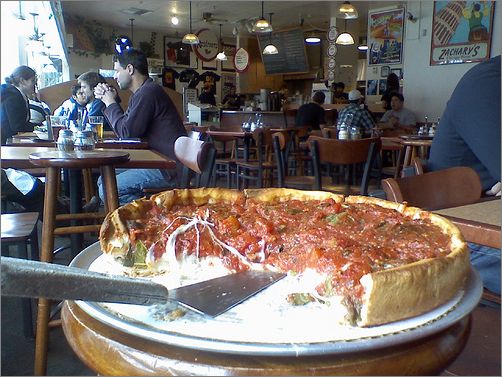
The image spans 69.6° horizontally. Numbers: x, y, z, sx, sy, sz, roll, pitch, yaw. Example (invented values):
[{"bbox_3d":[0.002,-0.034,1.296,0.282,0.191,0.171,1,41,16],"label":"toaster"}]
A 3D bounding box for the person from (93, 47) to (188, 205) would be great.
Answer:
[{"bbox_3d":[-0.970,-0.407,3.265,0.784,1.572,0.628,-1,2,-10],"label":"person"}]

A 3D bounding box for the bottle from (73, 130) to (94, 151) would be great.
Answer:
[{"bbox_3d":[-0.884,-0.244,1.929,0.097,0.120,0.105,2,0,3],"label":"bottle"}]

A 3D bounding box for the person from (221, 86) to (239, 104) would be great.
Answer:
[{"bbox_3d":[-0.728,-3.040,12.144,0.499,0.486,1.111,-2,18,-6],"label":"person"}]

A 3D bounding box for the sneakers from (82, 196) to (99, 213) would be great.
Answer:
[{"bbox_3d":[-1.395,0.143,3.132,0.058,0.082,0.186,2,33,8],"label":"sneakers"}]

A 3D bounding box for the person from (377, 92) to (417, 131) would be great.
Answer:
[{"bbox_3d":[2.845,-1.398,6.988,0.591,0.895,0.570,-1,13,25],"label":"person"}]

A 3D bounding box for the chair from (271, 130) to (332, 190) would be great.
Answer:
[{"bbox_3d":[0.530,-0.323,4.016,0.601,1.006,0.554,0,11,5],"label":"chair"}]

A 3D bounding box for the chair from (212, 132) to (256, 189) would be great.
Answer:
[{"bbox_3d":[-0.251,-0.391,5.454,0.524,0.803,0.783,4,12,18],"label":"chair"}]

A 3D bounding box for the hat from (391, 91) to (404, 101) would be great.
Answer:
[{"bbox_3d":[2.829,-1.752,6.948,0.244,0.183,0.351,7,19,21],"label":"hat"}]

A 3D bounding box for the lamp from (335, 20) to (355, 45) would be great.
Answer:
[{"bbox_3d":[2.489,-4.060,9.335,0.405,0.707,2.415,4,19,15],"label":"lamp"}]
